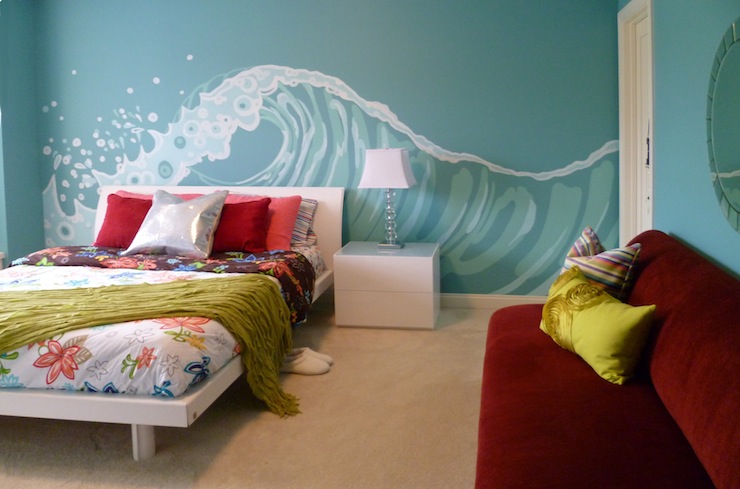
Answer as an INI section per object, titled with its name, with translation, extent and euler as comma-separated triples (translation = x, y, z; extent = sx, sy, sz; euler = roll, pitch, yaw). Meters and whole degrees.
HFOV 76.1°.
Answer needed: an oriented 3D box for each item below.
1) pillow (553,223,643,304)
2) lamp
[pillow]
translation = 1.404, 0.098, 2.865
extent = 0.234, 0.417, 0.443
euler = -15, 17, -28
[lamp]
translation = 0.153, -0.421, 4.172
extent = 0.446, 0.842, 0.450
euler = 3, 12, 4
